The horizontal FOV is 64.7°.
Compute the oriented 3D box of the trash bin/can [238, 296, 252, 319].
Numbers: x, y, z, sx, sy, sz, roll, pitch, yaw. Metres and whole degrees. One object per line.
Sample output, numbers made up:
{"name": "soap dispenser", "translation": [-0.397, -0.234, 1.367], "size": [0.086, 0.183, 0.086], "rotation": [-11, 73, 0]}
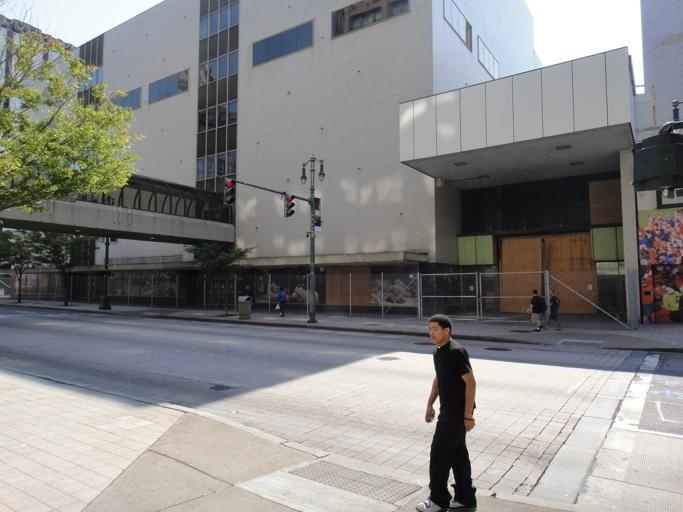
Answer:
{"name": "trash bin/can", "translation": [-5.346, 2.908, 29.885], "size": [0.613, 1.235, 0.911], "rotation": [-2, -2, -16]}

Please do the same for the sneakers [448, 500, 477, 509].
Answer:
{"name": "sneakers", "translation": [1.712, 3.540, 7.631], "size": [0.372, 0.107, 0.105], "rotation": [-3, -2, 6]}

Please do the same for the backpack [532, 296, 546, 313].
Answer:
{"name": "backpack", "translation": [8.262, 2.075, 22.630], "size": [0.586, 0.678, 0.439], "rotation": [6, -11, -21]}

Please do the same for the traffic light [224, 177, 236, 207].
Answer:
{"name": "traffic light", "translation": [-4.640, -2.653, 22.408], "size": [0.376, 1.061, 0.785], "rotation": [-2, -2, -19]}
